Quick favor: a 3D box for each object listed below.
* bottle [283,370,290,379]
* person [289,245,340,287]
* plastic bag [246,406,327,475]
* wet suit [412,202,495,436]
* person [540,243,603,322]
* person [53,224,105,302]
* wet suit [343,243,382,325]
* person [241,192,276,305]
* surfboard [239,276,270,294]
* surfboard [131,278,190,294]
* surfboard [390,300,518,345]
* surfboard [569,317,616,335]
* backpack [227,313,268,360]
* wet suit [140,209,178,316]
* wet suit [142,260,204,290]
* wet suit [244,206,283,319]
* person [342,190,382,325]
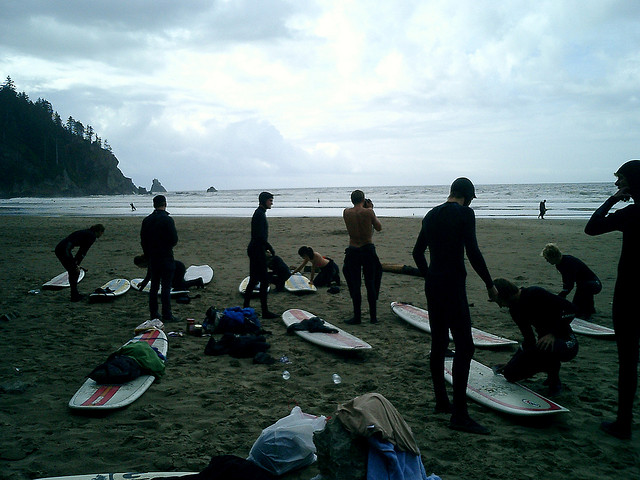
[{"bbox_3d":[-0.487,1.927,7.982,0.062,0.073,0.078,0,18,-2],"label":"bottle"},{"bbox_3d":[-0.186,0.665,12.414,1.329,1.092,0.493,-6,8,5],"label":"person"},{"bbox_3d":[-0.394,2.349,6.404,0.627,0.343,0.874,14,23,29],"label":"plastic bag"},{"bbox_3d":[1.686,0.954,6.967,0.744,2.811,0.654,0,11,14],"label":"wet suit"},{"bbox_3d":[4.590,0.795,10.181,0.923,1.438,0.558,-15,29,43],"label":"person"},{"bbox_3d":[-4.652,0.410,10.839,0.821,1.441,0.819,-8,12,-25],"label":"person"},{"bbox_3d":[0.737,0.750,9.728,0.690,1.488,0.480,-3,11,-3],"label":"wet suit"},{"bbox_3d":[-1.097,0.181,9.874,0.636,2.033,0.515,-4,11,-7],"label":"person"},{"bbox_3d":[-1.222,0.856,10.512,0.389,0.137,1.255,0,9,-6],"label":"surfboard"},{"bbox_3d":[-3.024,0.879,10.645,1.129,0.140,0.333,10,14,35],"label":"surfboard"},{"bbox_3d":[1.946,1.410,9.706,0.659,0.342,2.628,7,2,-16],"label":"surfboard"},{"bbox_3d":[4.552,1.483,9.420,0.376,0.189,1.737,-1,0,13],"label":"surfboard"},{"bbox_3d":[-1.174,1.534,8.910,0.625,0.432,0.978,-4,11,-9],"label":"backpack"},{"bbox_3d":[-2.745,0.398,9.662,0.587,1.873,0.501,-5,11,-11],"label":"wet suit"},{"bbox_3d":[-2.845,0.743,11.393,1.393,0.420,0.576,18,-13,-15],"label":"wet suit"},{"bbox_3d":[-1.090,0.408,9.934,0.636,2.032,0.548,-4,11,-8],"label":"wet suit"},{"bbox_3d":[0.705,0.308,9.625,0.673,2.371,0.517,-2,11,4],"label":"person"}]
